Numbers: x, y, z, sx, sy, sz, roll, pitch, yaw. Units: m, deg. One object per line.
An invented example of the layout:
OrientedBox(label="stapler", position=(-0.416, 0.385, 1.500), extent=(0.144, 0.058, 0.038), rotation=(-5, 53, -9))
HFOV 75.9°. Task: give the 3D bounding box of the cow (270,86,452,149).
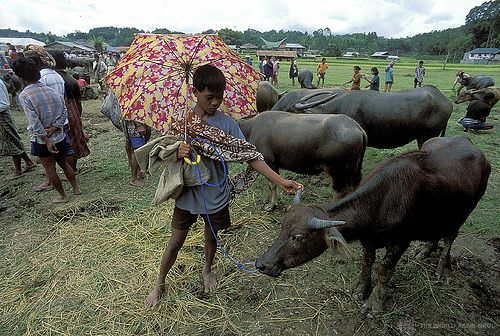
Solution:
OrientedBox(label="cow", position=(2.298, -1.068, 6.923), extent=(3.443, 1.624, 1.164), rotation=(1, 49, 8))

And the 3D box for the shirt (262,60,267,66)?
OrientedBox(label="shirt", position=(0.848, -6.156, 19.047), extent=(0.099, 0.330, 0.349), rotation=(14, 19, -1))

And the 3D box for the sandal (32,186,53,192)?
OrientedBox(label="sandal", position=(-4.404, 0.459, 6.802), extent=(0.362, 0.086, 0.132), rotation=(2, -1, -26))

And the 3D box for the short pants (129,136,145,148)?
OrientedBox(label="short pants", position=(-2.328, -0.534, 6.702), extent=(0.252, 0.212, 0.197), rotation=(-32, 27, -32))

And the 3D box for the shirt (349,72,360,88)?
OrientedBox(label="shirt", position=(4.842, -3.905, 14.603), extent=(0.319, 0.706, 0.754), rotation=(5, 25, 16))

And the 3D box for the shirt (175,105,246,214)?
OrientedBox(label="shirt", position=(-0.542, -0.041, 4.255), extent=(0.940, 1.316, 0.374), rotation=(-18, 29, -31))

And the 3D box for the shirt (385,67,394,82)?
OrientedBox(label="shirt", position=(6.948, -4.558, 15.944), extent=(0.297, 0.692, 0.221), rotation=(2, 25, 10))

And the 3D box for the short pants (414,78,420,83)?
OrientedBox(label="short pants", position=(9.369, -4.814, 17.966), extent=(0.237, 0.252, 0.361), rotation=(8, 26, 22))

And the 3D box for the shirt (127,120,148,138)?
OrientedBox(label="shirt", position=(-2.311, -0.793, 6.681), extent=(0.367, 0.308, 0.416), rotation=(-2, 8, 3))

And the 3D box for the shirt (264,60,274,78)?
OrientedBox(label="shirt", position=(1.061, -5.579, 18.492), extent=(0.706, 0.872, 0.403), rotation=(7, 7, 26))

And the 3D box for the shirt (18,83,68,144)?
OrientedBox(label="shirt", position=(-3.874, -0.991, 6.043), extent=(0.423, 1.116, 0.778), rotation=(5, 26, 16))

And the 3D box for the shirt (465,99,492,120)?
OrientedBox(label="shirt", position=(6.696, -1.678, 9.384), extent=(0.544, 0.508, 0.464), rotation=(12, 28, 29))

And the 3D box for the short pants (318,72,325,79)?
OrientedBox(label="short pants", position=(4.304, -5.451, 19.236), extent=(0.349, 0.412, 0.745), rotation=(1, 24, 8))

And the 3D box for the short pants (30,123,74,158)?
OrientedBox(label="short pants", position=(-3.808, -0.517, 6.130), extent=(0.734, 0.736, 0.457), rotation=(-6, 8, -40))

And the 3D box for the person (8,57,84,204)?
OrientedBox(label="person", position=(-3.883, -0.675, 6.181), extent=(0.689, 2.679, 0.957), rotation=(-7, 25, -9))
